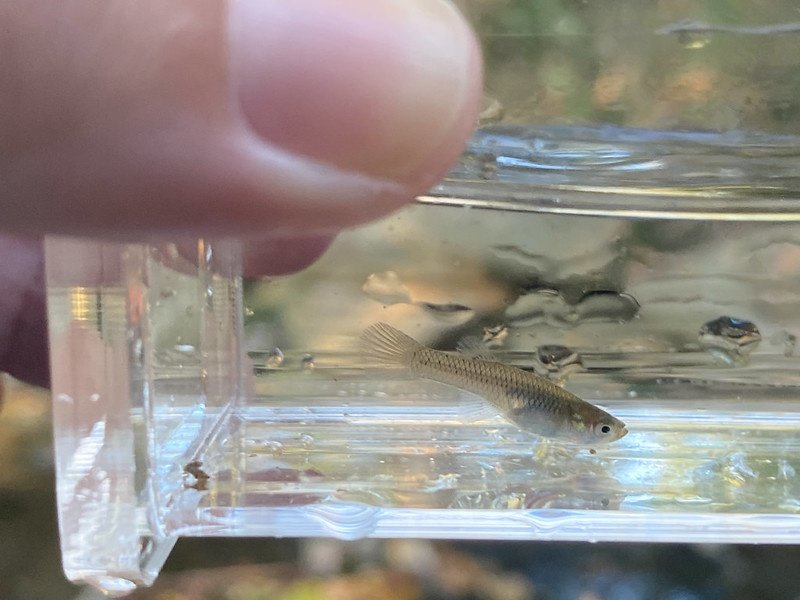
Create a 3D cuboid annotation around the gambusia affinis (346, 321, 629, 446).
[{"bbox_3d":[0.104,0.097,0.867,0.256,0.053,0.045,18,46,18],"label":"gambusia affinis"}]
